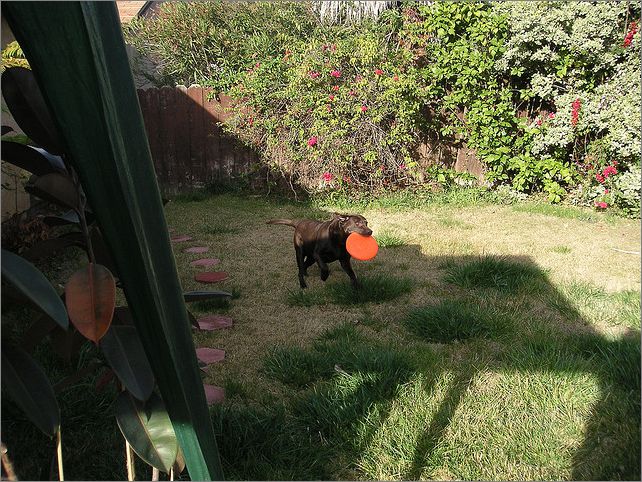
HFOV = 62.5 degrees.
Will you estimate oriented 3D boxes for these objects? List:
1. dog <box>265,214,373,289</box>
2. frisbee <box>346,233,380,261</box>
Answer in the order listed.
[{"bbox_3d":[-0.075,0.086,5.025,1.378,0.739,0.331,8,9,44],"label":"dog"},{"bbox_3d":[0.346,0.060,4.489,0.261,0.228,0.263,-1,24,-4],"label":"frisbee"}]
